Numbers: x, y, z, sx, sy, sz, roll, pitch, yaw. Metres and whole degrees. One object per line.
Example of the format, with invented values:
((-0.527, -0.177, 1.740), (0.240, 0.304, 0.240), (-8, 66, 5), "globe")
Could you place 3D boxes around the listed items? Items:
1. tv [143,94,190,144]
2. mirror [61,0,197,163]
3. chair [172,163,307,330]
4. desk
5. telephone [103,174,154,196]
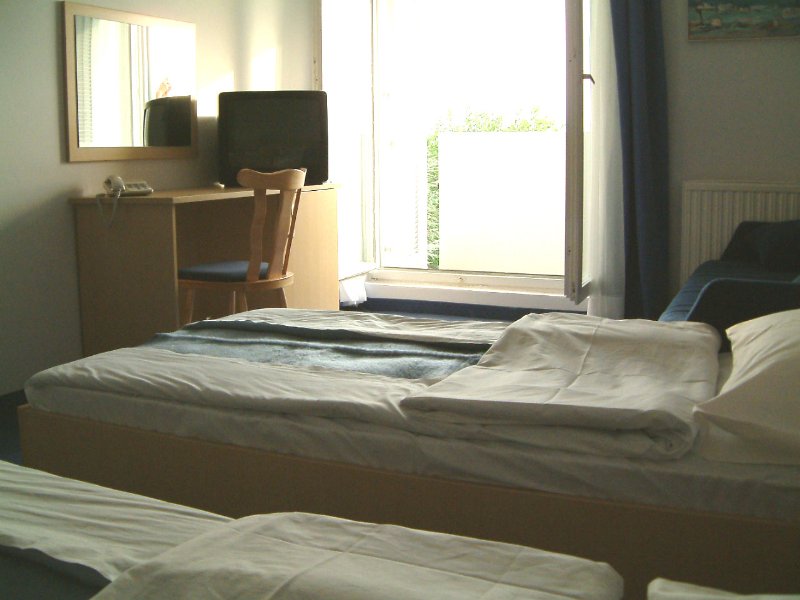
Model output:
((-1.375, -1.043, 4.038), (0.223, 0.283, 0.320), (-7, 13, -44), "tv")
((-1.437, -1.142, 3.601), (0.067, 0.846, 1.035), (4, 5, 23), "mirror")
((-0.838, -0.226, 3.736), (0.651, 0.904, 0.542), (4, 11, 18), "chair")
((-1.019, -0.163, 3.380), (0.377, 0.626, 0.982), (3, 9, 20), "desk")
((-1.334, -0.548, 3.388), (0.176, 0.063, 0.176), (-3, 16, -12), "telephone")
